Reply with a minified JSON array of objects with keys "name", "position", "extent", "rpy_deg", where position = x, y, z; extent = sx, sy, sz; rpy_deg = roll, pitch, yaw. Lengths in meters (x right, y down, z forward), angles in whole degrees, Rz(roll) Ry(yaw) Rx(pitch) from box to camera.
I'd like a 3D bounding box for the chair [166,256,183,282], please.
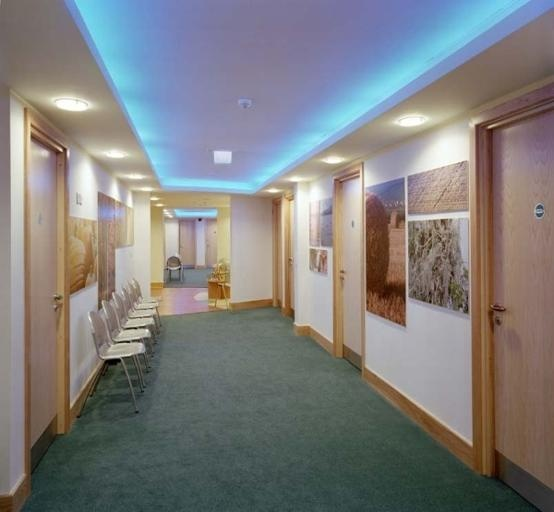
[{"name":"chair","position":[-3.689,0.487,14.464],"extent":[0.567,1.187,0.771],"rpy_deg":[0,-5,-12]}]
